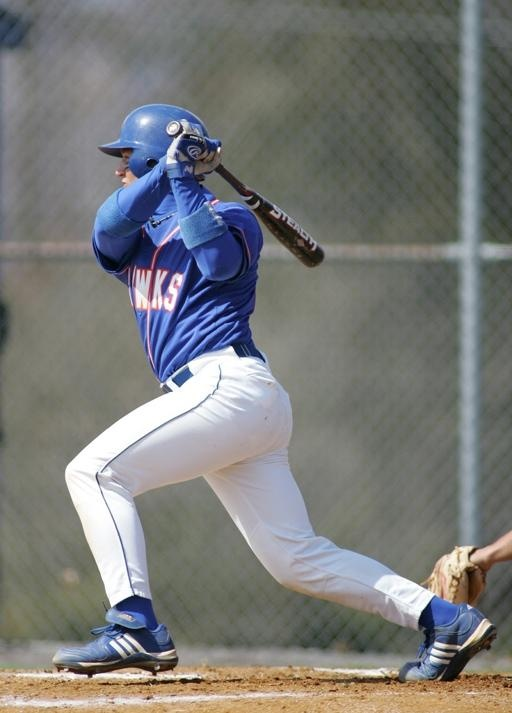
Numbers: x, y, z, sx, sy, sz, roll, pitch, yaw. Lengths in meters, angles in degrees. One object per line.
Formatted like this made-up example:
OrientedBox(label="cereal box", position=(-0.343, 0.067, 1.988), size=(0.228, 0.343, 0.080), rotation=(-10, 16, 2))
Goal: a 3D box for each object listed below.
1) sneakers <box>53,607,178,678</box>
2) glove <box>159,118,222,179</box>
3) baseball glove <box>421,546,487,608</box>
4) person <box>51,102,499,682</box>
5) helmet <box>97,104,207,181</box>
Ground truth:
OrientedBox(label="sneakers", position=(-0.377, 0.806, 3.531), size=(0.369, 0.190, 0.157), rotation=(3, -29, -7))
OrientedBox(label="glove", position=(-0.178, -0.584, 3.576), size=(0.131, 0.081, 0.175), rotation=(37, 7, -14))
OrientedBox(label="baseball glove", position=(0.631, 0.682, 3.990), size=(0.131, 0.186, 0.278), rotation=(-24, 11, 10))
OrientedBox(label="person", position=(-0.036, 0.156, 3.659), size=(1.074, 1.605, 0.428), rotation=(1, -10, -20))
OrientedBox(label="helmet", position=(-0.326, -0.637, 3.855), size=(0.321, 0.222, 0.220), rotation=(12, 0, -11))
